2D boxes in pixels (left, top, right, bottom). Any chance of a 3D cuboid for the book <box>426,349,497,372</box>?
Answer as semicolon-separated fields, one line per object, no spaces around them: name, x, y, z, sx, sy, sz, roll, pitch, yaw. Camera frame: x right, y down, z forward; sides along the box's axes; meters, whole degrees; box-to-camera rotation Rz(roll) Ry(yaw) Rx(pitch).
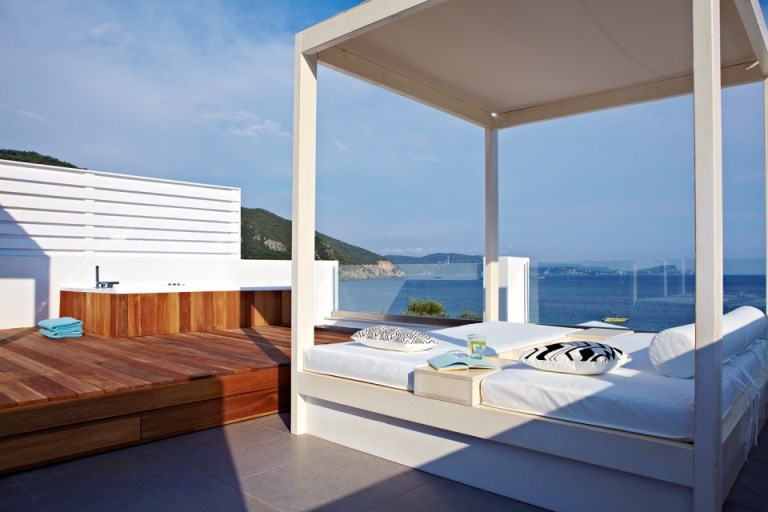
book;0.504;0.706;3.033;0.419;0.089;0.272;-2;14;-3

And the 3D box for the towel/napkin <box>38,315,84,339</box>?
towel/napkin;-3.937;0.865;5.542;0.293;0.123;0.384;3;3;45
